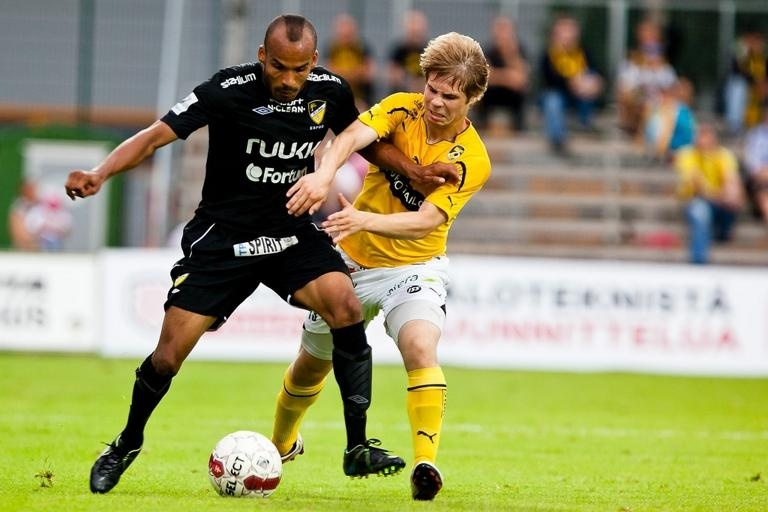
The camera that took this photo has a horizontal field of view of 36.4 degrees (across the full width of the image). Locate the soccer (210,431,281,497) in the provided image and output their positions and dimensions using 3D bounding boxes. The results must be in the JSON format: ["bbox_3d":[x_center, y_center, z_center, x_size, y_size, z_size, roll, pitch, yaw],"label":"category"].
[{"bbox_3d":[-1.354,2.008,11.381,0.619,0.601,0.631,-3,53,-41],"label":"soccer"}]

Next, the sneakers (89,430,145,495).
[{"bbox_3d":[-2.667,2.028,11.387,0.275,0.293,0.693,-32,18,42],"label":"sneakers"}]
